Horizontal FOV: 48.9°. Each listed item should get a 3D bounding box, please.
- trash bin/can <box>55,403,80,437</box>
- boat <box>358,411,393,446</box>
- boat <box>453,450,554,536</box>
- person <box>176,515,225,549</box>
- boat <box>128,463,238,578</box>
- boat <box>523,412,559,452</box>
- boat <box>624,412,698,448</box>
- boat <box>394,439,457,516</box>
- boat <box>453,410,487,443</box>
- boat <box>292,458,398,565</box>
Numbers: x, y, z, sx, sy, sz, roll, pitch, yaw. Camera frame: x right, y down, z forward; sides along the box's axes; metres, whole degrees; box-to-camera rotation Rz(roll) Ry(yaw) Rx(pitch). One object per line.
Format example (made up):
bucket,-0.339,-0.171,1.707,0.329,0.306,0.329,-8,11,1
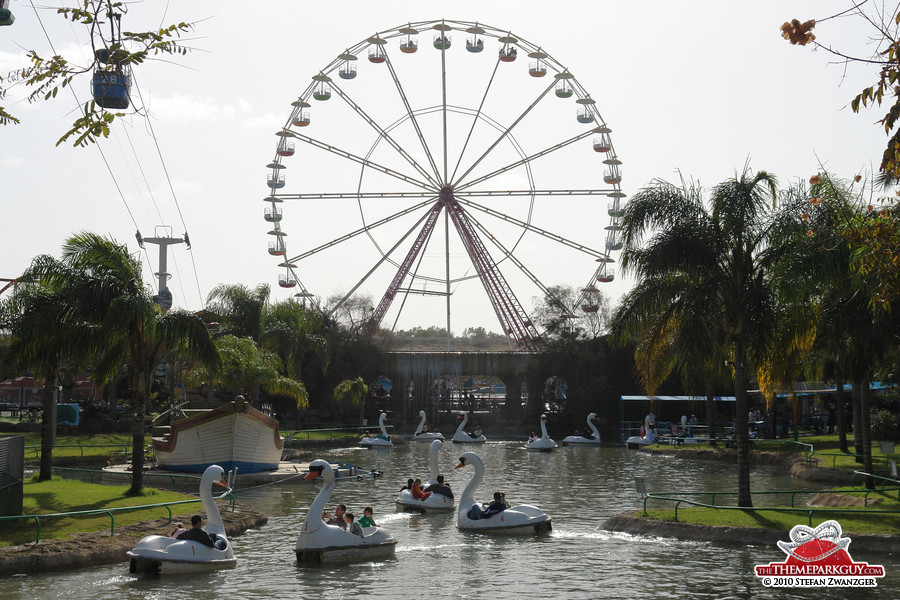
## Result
trash bin/can,-24.596,7.752,63.754,1.960,2.174,3.715,2,-6,-18
boat,-4.851,8.693,65.445,2.496,2.702,1.624,3,-4,-6
boat,1.702,6.986,34.563,4.237,3.651,1.617,-1,-5,29
person,-7.373,6.834,29.290,1.319,1.004,0.838,-4,-7,21
boat,-7.915,6.691,29.309,2.020,3.005,3.140,-2,-4,37
boat,5.970,8.743,63.511,1.542,2.125,2.887,0,-7,0
boat,14.205,8.694,66.600,4.437,3.233,12.785,-2,-13,12
boat,-0.817,7.302,38.013,1.738,2.415,2.588,2,-1,32
boat,1.411,9.220,69.651,2.381,2.489,1.664,2,-10,1
boat,-3.353,6.756,29.992,3.249,3.009,2.158,19,-27,-40
